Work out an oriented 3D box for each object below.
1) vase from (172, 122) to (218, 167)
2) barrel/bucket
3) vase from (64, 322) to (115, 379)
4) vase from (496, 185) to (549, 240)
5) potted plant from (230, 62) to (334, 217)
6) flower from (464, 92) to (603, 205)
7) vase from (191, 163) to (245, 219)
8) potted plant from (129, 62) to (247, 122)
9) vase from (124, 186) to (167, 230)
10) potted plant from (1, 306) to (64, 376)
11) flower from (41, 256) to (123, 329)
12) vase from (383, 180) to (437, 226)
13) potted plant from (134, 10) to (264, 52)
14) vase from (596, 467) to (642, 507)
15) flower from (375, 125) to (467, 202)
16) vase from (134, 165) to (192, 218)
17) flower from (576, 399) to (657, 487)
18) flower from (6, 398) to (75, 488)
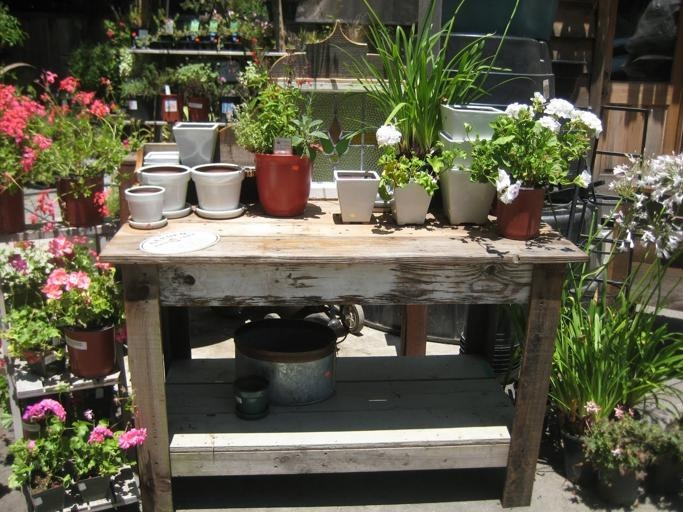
[{"bbox_3d":[-0.655,-0.519,2.793,0.211,0.252,0.187,-3,17,-18],"label":"vase"},{"bbox_3d":[-0.249,0.474,2.784,0.365,0.202,0.377,2,14,-1],"label":"barrel/bucket"},{"bbox_3d":[-1.026,0.391,2.528,0.202,0.217,0.197,0,4,-14],"label":"vase"},{"bbox_3d":[0.734,-0.201,2.586,0.197,0.221,0.200,-6,19,-21],"label":"vase"},{"bbox_3d":[-0.276,-0.565,2.869,0.456,0.662,0.575,-3,15,-10],"label":"potted plant"},{"bbox_3d":[0.811,-0.453,2.533,0.541,0.442,0.408,-11,18,-34],"label":"flower"},{"bbox_3d":[-0.529,-0.282,2.670,0.230,0.209,0.236,-11,30,-25],"label":"vase"},{"bbox_3d":[-1.665,-1.827,6.655,1.306,0.653,1.077,0,26,0],"label":"potted plant"},{"bbox_3d":[-0.804,-0.201,2.489,0.168,0.152,0.173,-7,22,-20],"label":"vase"},{"bbox_3d":[-1.287,0.356,2.522,0.195,0.259,0.203,0,30,-5],"label":"potted plant"},{"bbox_3d":[-1.088,0.174,2.537,0.288,0.261,0.225,-11,19,-35],"label":"flower"},{"bbox_3d":[0.308,-0.226,2.613,0.194,0.178,0.162,-1,15,-5],"label":"vase"},{"bbox_3d":[-1.547,-2.513,6.762,1.560,0.426,0.276,6,16,21],"label":"potted plant"},{"bbox_3d":[1.221,1.021,2.706,0.172,0.201,0.180,0,12,7],"label":"vase"},{"bbox_3d":[0.339,-0.417,2.654,0.345,0.264,0.314,-1,25,-4],"label":"flower"},{"bbox_3d":[-0.757,-0.315,2.647,0.218,0.200,0.227,4,21,7],"label":"vase"},{"bbox_3d":[1.199,0.823,2.652,0.312,0.351,0.237,-7,-14,3],"label":"flower"},{"bbox_3d":[-1.243,0.760,2.479,0.228,0.389,0.309,-8,17,-26],"label":"flower"}]
